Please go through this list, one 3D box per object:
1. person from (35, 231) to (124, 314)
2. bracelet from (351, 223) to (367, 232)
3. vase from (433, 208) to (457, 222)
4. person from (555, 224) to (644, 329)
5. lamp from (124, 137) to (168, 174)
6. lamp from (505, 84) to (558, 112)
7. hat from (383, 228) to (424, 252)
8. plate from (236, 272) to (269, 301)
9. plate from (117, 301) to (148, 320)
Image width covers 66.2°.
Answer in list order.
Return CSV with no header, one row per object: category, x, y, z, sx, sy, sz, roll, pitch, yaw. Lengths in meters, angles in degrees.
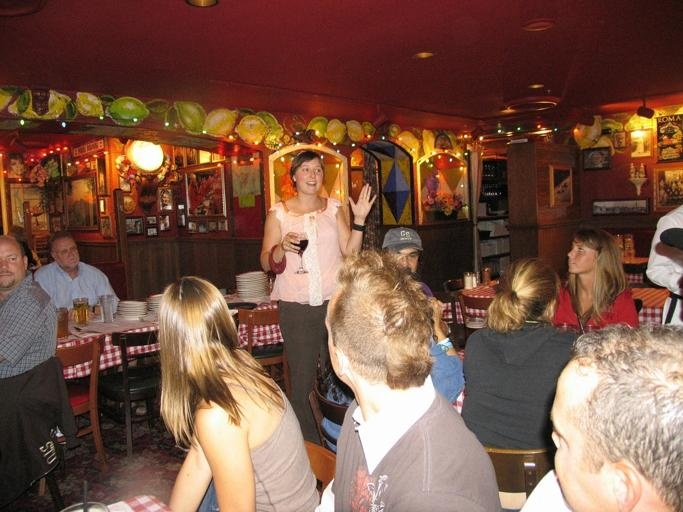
person,-2.470,0.206,4.753,0.531,0.747,0.783,-2,6,28
bracelet,0.106,-0.179,3.312,0.090,0.038,0.093,8,5,-1
vase,1.872,-0.728,9.499,0.280,0.282,0.287,0,-1,-3
person,1.726,0.185,3.574,0.403,0.744,0.689,-2,2,-15
lamp,-2.747,-1.356,7.308,0.472,0.488,0.214,2,-13,-40
lamp,2.634,-2.107,7.305,0.670,0.283,1.816,-1,6,20
hat,0.385,-0.102,3.340,0.156,0.115,0.220,2,-6,-3
plate,-0.900,0.284,5.284,0.273,0.247,0.282,1,3,24
plate,-1.779,0.458,4.422,0.244,0.150,0.203,-5,6,-24
